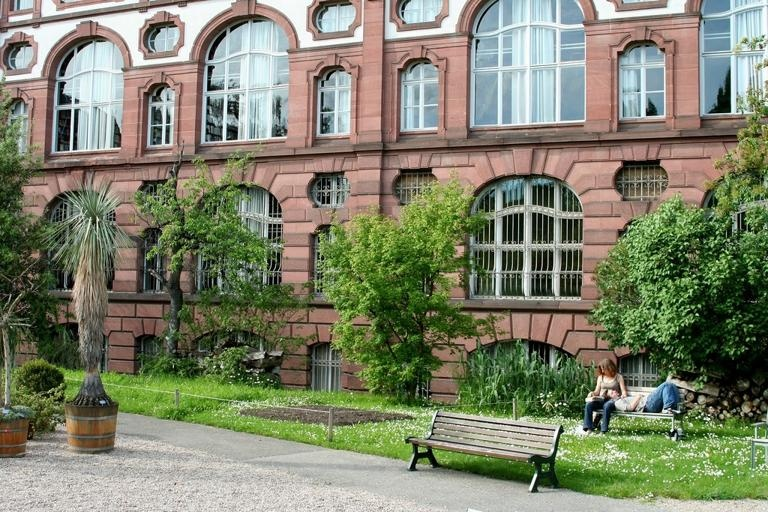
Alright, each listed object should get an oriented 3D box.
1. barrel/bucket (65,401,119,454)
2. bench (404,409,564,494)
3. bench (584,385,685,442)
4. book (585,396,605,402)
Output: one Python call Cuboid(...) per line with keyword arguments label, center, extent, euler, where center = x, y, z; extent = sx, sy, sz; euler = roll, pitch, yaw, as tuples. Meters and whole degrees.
Cuboid(label="barrel/bucket", center=(-7.629, 4.513, 28.970), extent=(1.218, 1.027, 1.315), euler=(0, -4, 0))
Cuboid(label="bench", center=(2.757, 5.000, 27.806), extent=(4.519, 1.787, 1.659), euler=(3, -1, 33))
Cuboid(label="bench", center=(7.504, 4.480, 32.172), extent=(2.477, 1.636, 2.303), euler=(-1, -7, 16))
Cuboid(label="book", center=(6.159, 4.140, 31.953), extent=(0.375, 0.095, 0.382), euler=(1, -4, -37))
